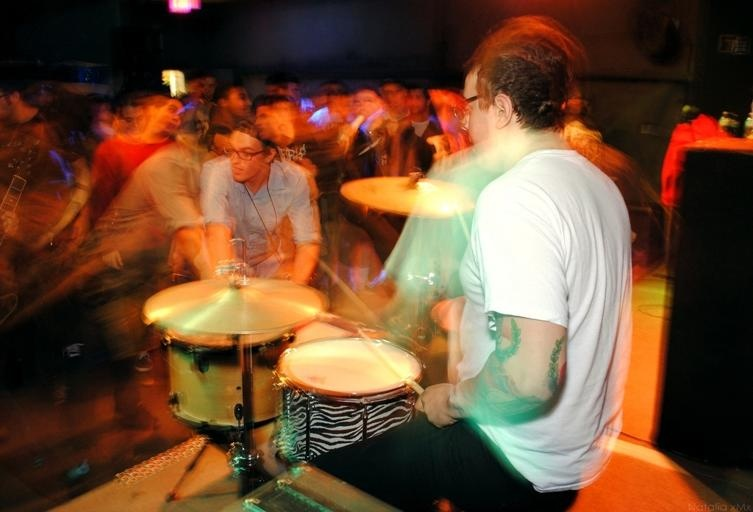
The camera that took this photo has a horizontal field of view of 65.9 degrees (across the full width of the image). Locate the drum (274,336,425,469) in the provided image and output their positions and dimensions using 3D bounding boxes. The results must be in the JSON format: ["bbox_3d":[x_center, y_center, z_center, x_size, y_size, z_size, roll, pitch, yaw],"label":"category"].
[{"bbox_3d":[-0.109,0.802,3.334,0.776,0.457,0.719,1,22,0],"label":"drum"}]

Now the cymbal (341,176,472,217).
[{"bbox_3d":[0.254,-0.495,4.852,0.637,0.138,0.605,9,23,0],"label":"cymbal"}]

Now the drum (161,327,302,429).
[{"bbox_3d":[-0.899,0.827,3.825,0.750,0.478,0.710,-2,-3,0],"label":"drum"}]

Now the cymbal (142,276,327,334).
[{"bbox_3d":[-0.903,0.245,3.722,0.961,0.190,0.952,0,15,-30],"label":"cymbal"}]
